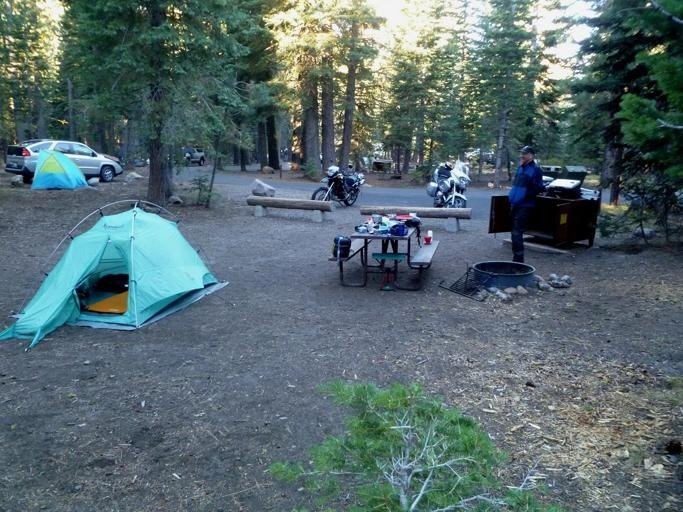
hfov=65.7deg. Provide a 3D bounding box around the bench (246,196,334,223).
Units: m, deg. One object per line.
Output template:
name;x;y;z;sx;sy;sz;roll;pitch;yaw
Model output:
bench;-1.646;-1.470;17.561;4.067;0.843;2.349;4;11;13

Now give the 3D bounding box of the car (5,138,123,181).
car;-11.074;-4.019;21.953;2.138;1.421;4.592;13;17;42

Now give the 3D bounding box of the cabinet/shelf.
cabinet/shelf;5.173;-0.918;13.328;2.227;0.928;1.879;-8;15;-35

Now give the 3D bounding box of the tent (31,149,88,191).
tent;-10.611;-3.220;19.634;1.755;1.096;1.984;6;16;13

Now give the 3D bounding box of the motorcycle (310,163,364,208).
motorcycle;-0.097;-2.559;19.716;1.070;1.436;3.166;11;12;26

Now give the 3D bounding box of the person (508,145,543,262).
person;3.911;-1.123;11.425;0.654;2.537;1.284;8;12;17
